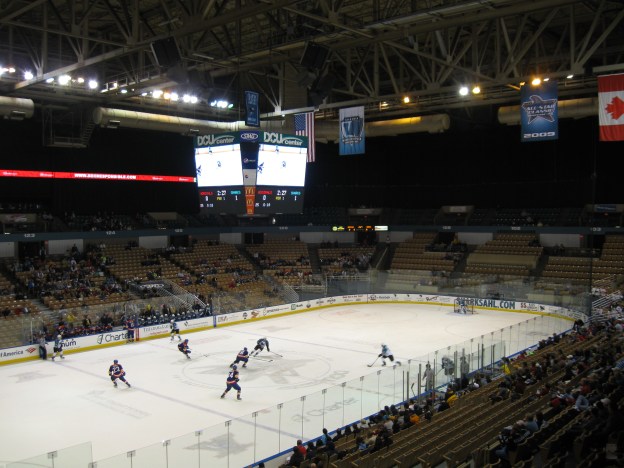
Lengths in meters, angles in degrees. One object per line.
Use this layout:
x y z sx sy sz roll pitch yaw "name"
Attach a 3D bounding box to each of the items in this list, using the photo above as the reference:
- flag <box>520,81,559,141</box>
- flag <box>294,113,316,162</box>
8.958 -4.809 21.568 1.512 2.306 0.509 13 14 24 "flag"
-0.396 -5.001 28.028 1.107 2.504 2.086 8 13 0 "flag"
